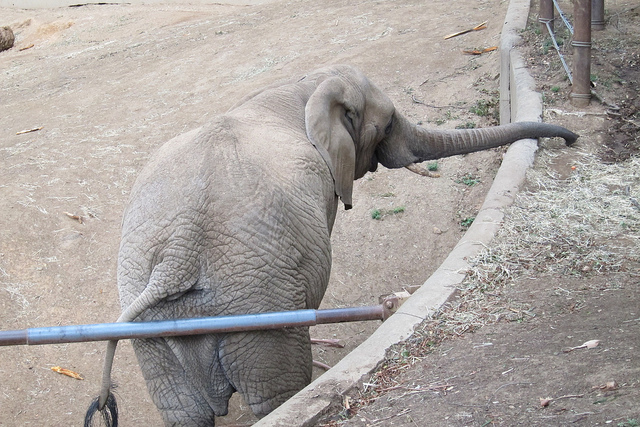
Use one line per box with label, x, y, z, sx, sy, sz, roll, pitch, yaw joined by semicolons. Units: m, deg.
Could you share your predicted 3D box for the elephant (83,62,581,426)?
elephant;-0.183;-0.686;8.270;5.696;2.927;2.124;-38;40;-27
